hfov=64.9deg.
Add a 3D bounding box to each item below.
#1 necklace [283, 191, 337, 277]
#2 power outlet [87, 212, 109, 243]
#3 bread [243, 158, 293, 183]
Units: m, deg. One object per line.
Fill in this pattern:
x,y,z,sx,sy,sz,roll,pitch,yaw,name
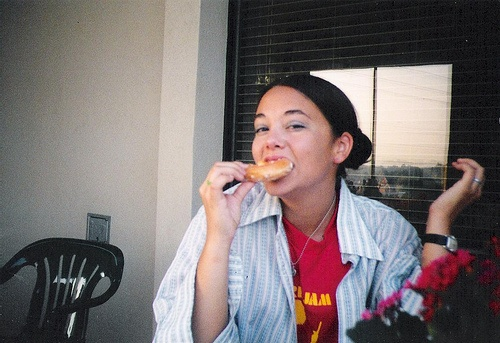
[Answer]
0.357,0.342,2.170,0.152,0.671,0.123,11,-22,32,necklace
-1.105,0.405,2.881,0.182,0.212,0.020,6,4,25,power outlet
0.095,-0.001,1.944,0.242,0.124,0.121,2,4,7,bread
